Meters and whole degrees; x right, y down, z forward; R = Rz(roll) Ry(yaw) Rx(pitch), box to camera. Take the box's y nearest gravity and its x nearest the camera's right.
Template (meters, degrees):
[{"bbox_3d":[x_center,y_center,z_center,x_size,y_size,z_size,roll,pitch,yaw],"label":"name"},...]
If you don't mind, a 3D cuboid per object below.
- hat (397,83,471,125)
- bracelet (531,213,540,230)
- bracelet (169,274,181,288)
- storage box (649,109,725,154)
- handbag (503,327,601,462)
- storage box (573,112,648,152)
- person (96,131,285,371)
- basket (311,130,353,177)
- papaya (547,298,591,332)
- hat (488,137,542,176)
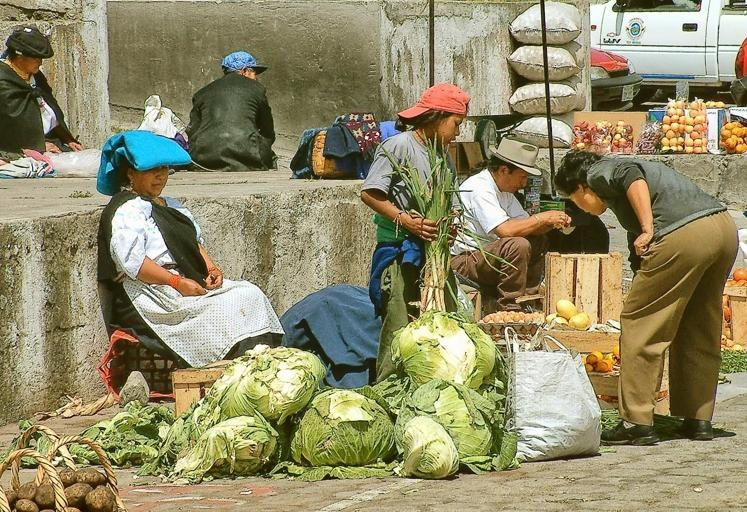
[{"bbox_3d":[0.450,-1.179,10.269,0.525,0.295,0.194,0,6,-1],"label":"hat"},{"bbox_3d":[1.408,-0.334,11.704,0.045,0.090,0.069,-2,-6,-14],"label":"bracelet"},{"bbox_3d":[-1.564,0.188,10.509,0.080,0.112,0.049,-1,6,-4],"label":"bracelet"},{"bbox_3d":[3.582,-1.481,15.300,0.698,0.585,0.282,1,6,13],"label":"storage box"},{"bbox_3d":[1.243,0.992,9.881,0.805,0.860,0.729,4,17,6],"label":"handbag"},{"bbox_3d":[2.817,-1.428,16.056,0.646,0.385,0.620,0,0,18],"label":"storage box"},{"bbox_3d":[-1.450,-0.139,10.900,1.155,2.080,0.946,0,2,14],"label":"person"},{"bbox_3d":[-0.485,-1.106,13.800,0.446,0.446,0.463,-9,24,-24],"label":"basket"},{"bbox_3d":[1.637,0.491,11.415,0.235,0.140,0.326,-15,7,-7],"label":"papaya"},{"bbox_3d":[1.234,-0.899,11.794,0.423,0.305,0.356,0,12,6],"label":"hat"}]
